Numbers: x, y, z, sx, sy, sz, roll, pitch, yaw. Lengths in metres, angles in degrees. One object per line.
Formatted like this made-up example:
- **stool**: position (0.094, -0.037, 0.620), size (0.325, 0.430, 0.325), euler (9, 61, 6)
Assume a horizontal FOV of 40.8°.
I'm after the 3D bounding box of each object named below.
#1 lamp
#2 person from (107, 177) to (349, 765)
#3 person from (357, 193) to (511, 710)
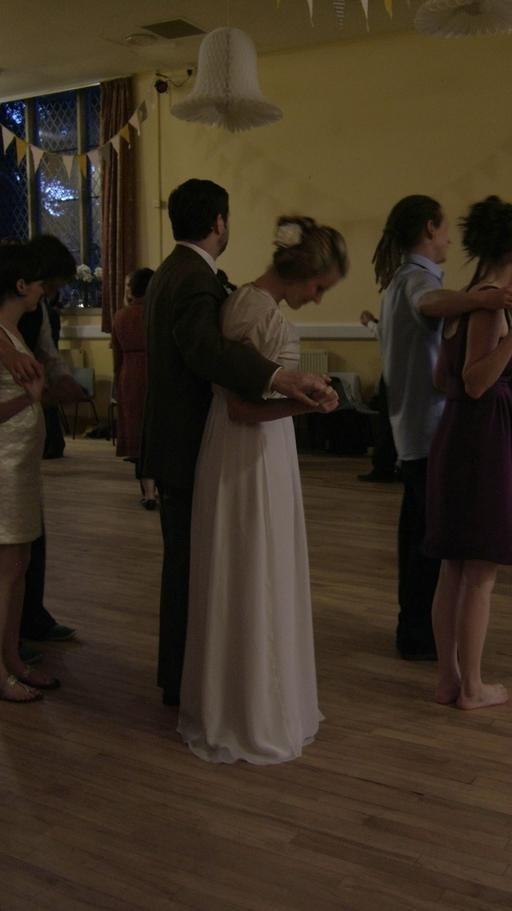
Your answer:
- **lamp**: position (-0.161, -1.602, 3.005), size (0.498, 0.286, 0.599), euler (-1, 3, 7)
- **person**: position (-0.061, 0.015, 1.755), size (0.622, 1.447, 0.345), euler (1, 3, 39)
- **person**: position (0.580, -0.061, 2.202), size (0.290, 1.556, 0.849), euler (-1, 2, -3)
